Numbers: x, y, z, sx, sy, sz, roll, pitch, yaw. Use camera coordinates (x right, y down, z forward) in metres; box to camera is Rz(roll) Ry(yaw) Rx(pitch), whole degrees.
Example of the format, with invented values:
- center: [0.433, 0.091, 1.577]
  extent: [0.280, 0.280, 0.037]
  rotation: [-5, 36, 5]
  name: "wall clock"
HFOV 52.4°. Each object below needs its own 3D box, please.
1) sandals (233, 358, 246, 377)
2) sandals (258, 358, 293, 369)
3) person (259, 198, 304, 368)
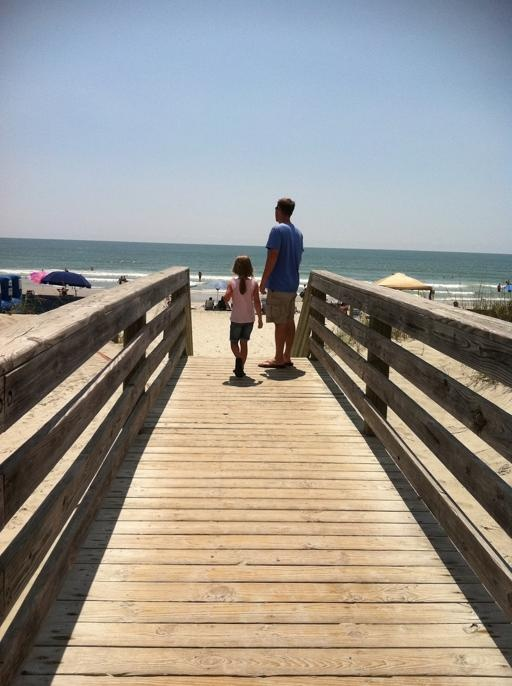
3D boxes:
- center: [-0.150, 0.230, 4.947]
  extent: [0.125, 0.192, 0.109]
  rotation: [-4, 11, -29]
  name: "sandals"
- center: [0.203, 0.207, 5.390]
  extent: [0.295, 0.089, 0.116]
  rotation: [1, 3, -5]
  name: "sandals"
- center: [0.244, -0.549, 5.180]
  extent: [0.400, 1.693, 0.665]
  rotation: [5, 10, 19]
  name: "person"
